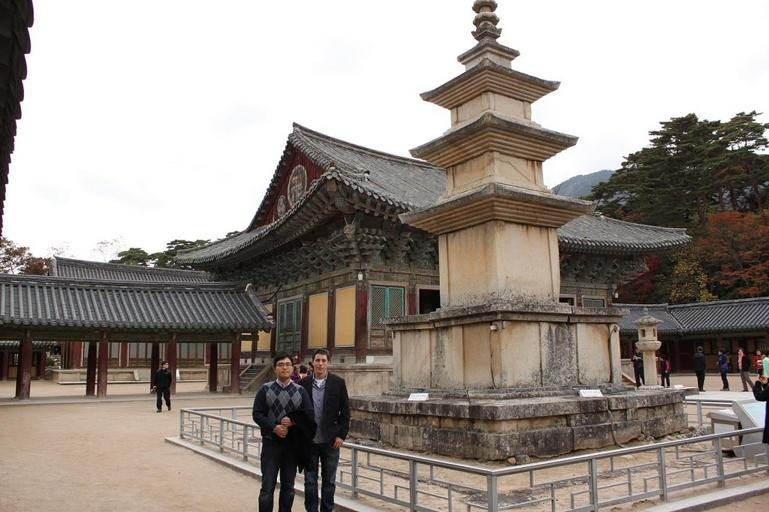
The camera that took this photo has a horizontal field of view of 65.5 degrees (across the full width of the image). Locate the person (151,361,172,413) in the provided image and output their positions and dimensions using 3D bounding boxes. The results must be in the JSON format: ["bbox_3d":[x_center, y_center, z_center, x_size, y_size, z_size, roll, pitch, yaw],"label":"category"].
[{"bbox_3d":[-6.818,4.014,18.331,0.491,1.500,0.907,3,-13,-21],"label":"person"}]
